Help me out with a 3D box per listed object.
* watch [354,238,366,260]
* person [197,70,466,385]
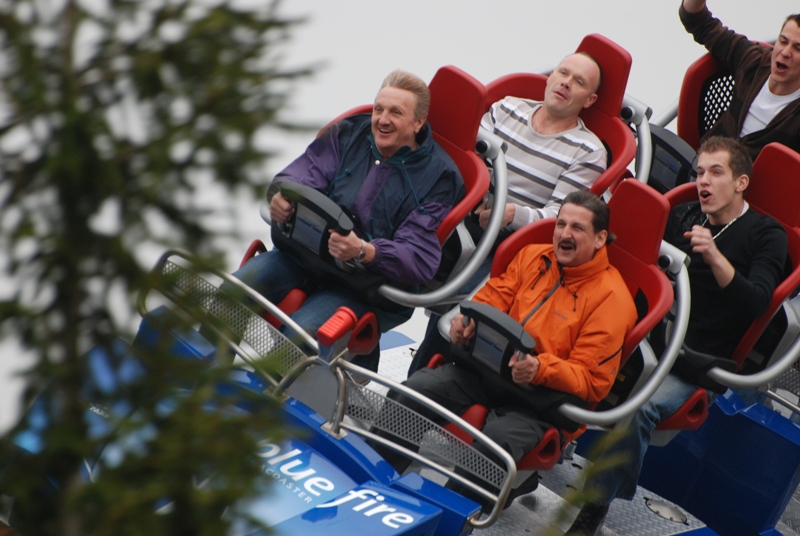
[{"bbox_3d":[-0.159,-0.074,4.519,0.015,0.064,0.059,13,-35,-5],"label":"watch"},{"bbox_3d":[-0.267,-0.249,4.701,0.826,0.971,0.811,26,32,19],"label":"person"}]
